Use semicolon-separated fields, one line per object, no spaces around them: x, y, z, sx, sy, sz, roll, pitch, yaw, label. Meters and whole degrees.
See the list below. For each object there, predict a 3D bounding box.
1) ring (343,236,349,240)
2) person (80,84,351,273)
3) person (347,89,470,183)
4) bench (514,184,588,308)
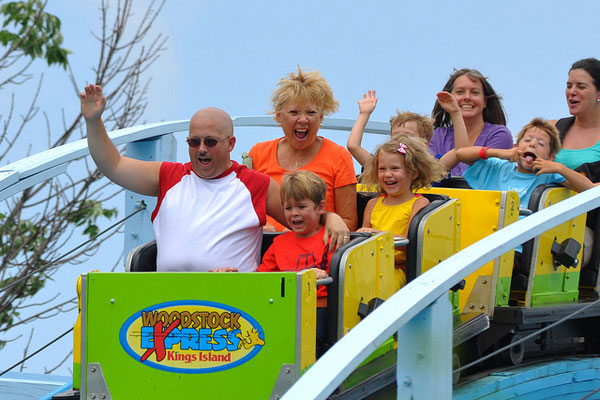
0.316;0.261;7.655;0.029;0.026;0.030;3;4;0;ring
-0.496;-0.077;7.767;1.619;1.626;0.507;-2;-22;2;person
0.891;-0.429;8.634;0.950;0.927;0.508;-1;-31;5;person
1.891;0.441;8.264;0.614;0.665;0.251;0;1;-26;bench
